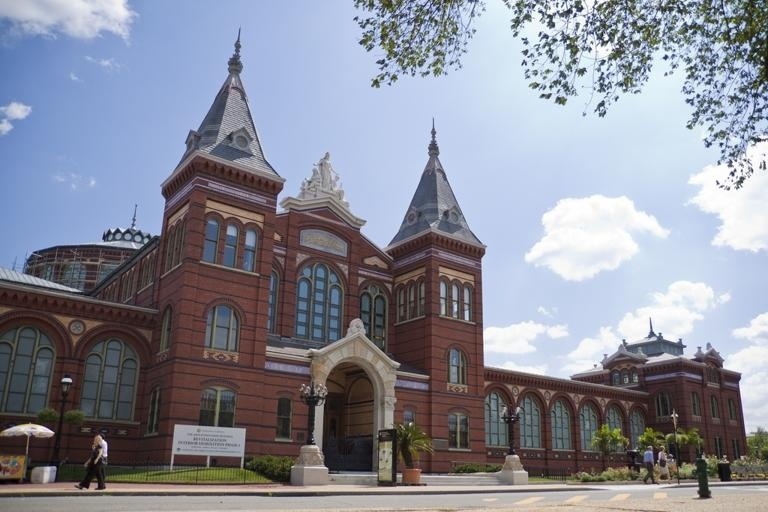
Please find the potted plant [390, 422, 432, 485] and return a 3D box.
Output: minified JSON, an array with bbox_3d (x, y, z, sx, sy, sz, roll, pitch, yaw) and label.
[{"bbox_3d":[1.444,12.271,35.615,2.958,3.734,2.804,9,-22,-36],"label":"potted plant"}]
